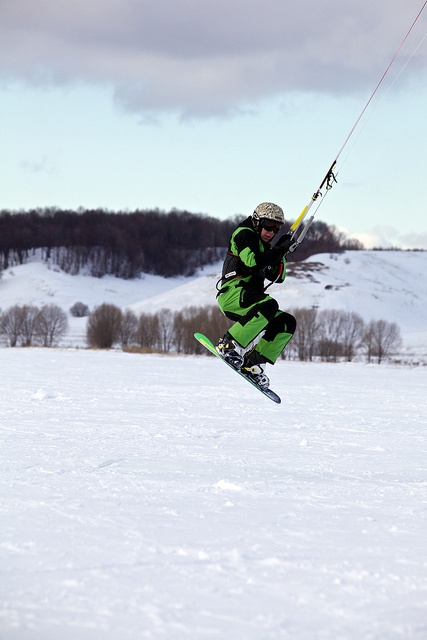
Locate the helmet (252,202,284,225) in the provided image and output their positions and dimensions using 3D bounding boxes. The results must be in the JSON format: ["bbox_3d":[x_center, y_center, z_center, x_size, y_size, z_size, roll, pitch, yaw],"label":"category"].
[{"bbox_3d":[0.580,-1.102,7.917,0.340,0.218,0.277,1,0,10],"label":"helmet"}]

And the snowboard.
[{"bbox_3d":[0.409,0.864,12.382,1.988,0.190,0.285,37,27,2],"label":"snowboard"}]

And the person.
[{"bbox_3d":[0.529,-0.233,8.171,0.828,1.959,1.066,1,0,-8],"label":"person"}]
